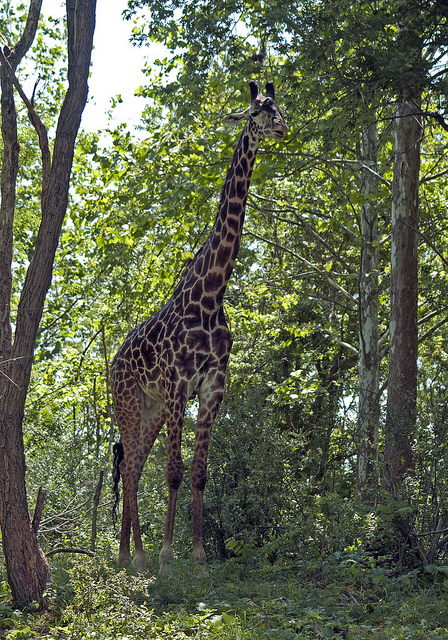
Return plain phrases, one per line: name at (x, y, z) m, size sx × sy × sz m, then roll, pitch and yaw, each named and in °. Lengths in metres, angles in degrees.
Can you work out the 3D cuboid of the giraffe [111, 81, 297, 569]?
giraffe at (-0.473, 0.176, 14.372) m, size 0.930 × 4.882 × 2.584 m, roll 6°, pitch -14°, yaw -30°
